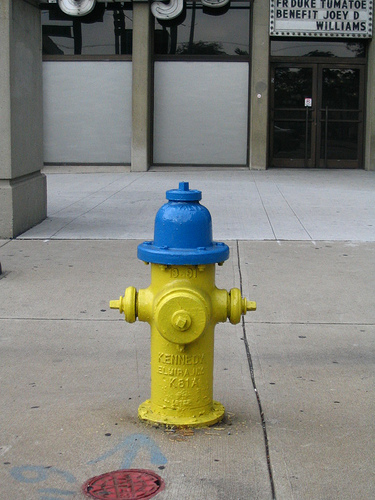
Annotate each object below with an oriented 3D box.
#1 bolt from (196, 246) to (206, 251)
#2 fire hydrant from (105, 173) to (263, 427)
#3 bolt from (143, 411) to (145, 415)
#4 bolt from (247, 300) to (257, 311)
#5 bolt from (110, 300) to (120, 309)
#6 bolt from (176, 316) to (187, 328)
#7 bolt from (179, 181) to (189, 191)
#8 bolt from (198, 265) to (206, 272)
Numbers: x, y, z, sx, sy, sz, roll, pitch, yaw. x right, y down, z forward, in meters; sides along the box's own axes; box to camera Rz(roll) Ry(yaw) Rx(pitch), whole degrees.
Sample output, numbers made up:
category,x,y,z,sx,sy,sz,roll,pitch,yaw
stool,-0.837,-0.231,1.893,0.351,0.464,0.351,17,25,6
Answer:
category,x,y,z,sx,sy,sz,roll,pitch,yaw
bolt,0.063,-0.004,2.270,0.041,0.012,0.051,-1,8,-9
fire hydrant,-0.010,0.264,2.377,0.612,1.049,0.285,-1,8,-10
bolt,-0.201,0.759,2.447,0.007,0.016,0.010,-1,3,-34
bolt,0.296,0.251,2.401,0.054,0.035,0.039,1,-4,2
bolt,-0.334,0.253,2.443,0.066,0.042,0.035,1,-4,-1
bolt,-0.024,0.306,2.239,0.041,0.055,0.040,22,50,-8
bolt,-0.014,-0.289,2.358,0.049,0.044,0.041,-3,0,-3
bolt,0.064,0.082,2.287,0.029,0.036,0.035,1,8,7
